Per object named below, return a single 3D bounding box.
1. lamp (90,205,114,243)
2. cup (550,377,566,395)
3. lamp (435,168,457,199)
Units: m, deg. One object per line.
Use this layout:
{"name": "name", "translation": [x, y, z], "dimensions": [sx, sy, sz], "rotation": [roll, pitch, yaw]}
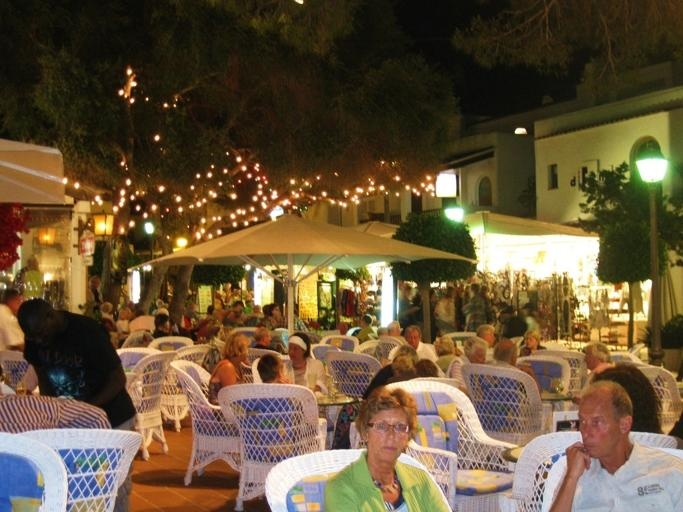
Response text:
{"name": "lamp", "translation": [-4.810, -0.603, 16.349], "dimensions": [0.451, 0.569, 1.072], "rotation": [5, -10, -19]}
{"name": "cup", "translation": [2.512, 1.518, 9.445], "dimensions": [0.141, 0.203, 0.174], "rotation": [1, -9, -3]}
{"name": "lamp", "translation": [2.723, -1.966, 21.019], "dimensions": [0.677, 0.872, 0.774], "rotation": [-1, -1, 12]}
